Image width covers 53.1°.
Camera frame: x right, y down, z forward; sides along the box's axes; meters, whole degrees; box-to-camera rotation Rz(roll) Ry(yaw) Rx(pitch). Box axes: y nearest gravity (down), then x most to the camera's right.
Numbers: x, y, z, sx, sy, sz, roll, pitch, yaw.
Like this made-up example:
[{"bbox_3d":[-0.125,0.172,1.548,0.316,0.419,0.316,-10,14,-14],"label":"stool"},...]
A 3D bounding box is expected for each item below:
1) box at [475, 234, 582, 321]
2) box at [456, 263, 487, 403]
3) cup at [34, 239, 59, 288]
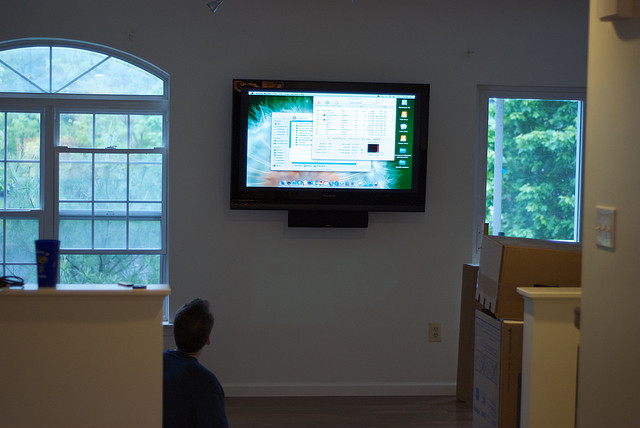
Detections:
[{"bbox_3d":[1.478,0.427,4.507,0.835,0.455,0.799,1,2,-44],"label":"box"},{"bbox_3d":[1.315,0.961,5.362,0.326,1.137,0.228,-7,-13,45],"label":"box"},{"bbox_3d":[-1.619,0.286,3.761,0.166,0.278,0.098,2,2,15],"label":"cup"}]
